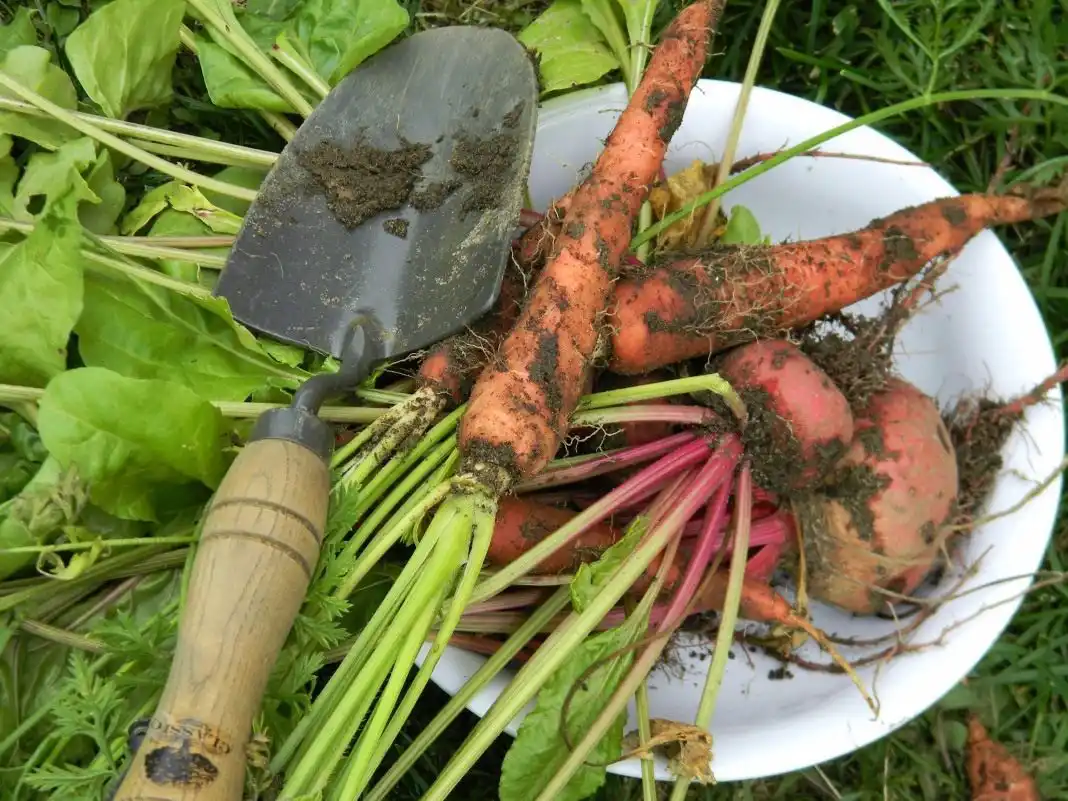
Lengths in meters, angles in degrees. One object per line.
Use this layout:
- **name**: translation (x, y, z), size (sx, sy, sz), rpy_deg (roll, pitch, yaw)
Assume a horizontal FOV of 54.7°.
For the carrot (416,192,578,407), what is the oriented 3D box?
- **carrot**: translation (-0.071, -0.173, 1.806), size (0.077, 0.103, 0.392), rpy_deg (19, 74, 46)
